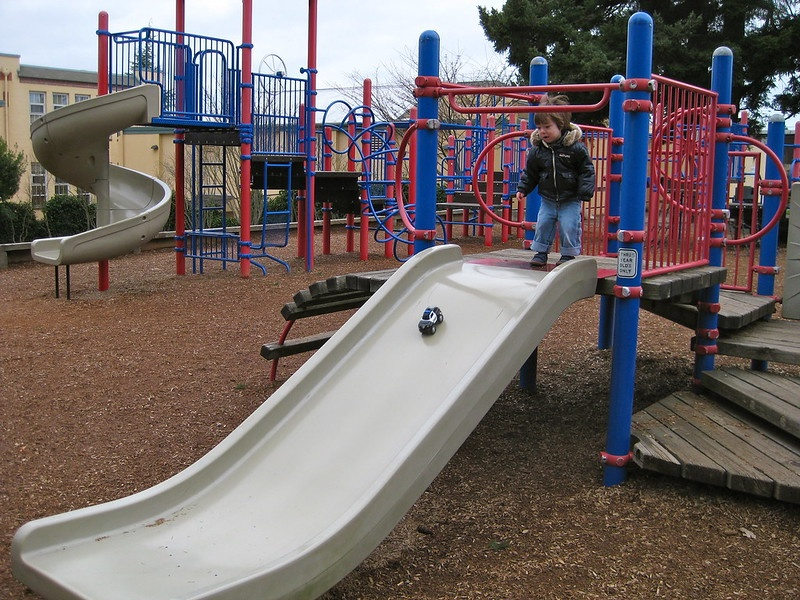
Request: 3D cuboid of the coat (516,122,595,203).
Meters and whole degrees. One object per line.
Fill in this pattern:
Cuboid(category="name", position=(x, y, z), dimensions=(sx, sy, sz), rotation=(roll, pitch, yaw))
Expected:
Cuboid(category="coat", position=(1.148, -0.996, 5.818), dimensions=(0.524, 0.550, 0.308), rotation=(1, 11, 23))

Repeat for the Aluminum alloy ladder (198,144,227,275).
Cuboid(category="Aluminum alloy ladder", position=(-3.095, -1.811, 13.045), dimensions=(0.547, 2.523, 0.110), rotation=(-1, -22, -11))

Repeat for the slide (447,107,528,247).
Cuboid(category="slide", position=(1.823, -2.429, 15.969), dimensions=(1.394, 2.322, 1.423), rotation=(4, 8, 15))

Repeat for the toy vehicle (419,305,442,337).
Cuboid(category="toy vehicle", position=(0.189, 0.133, 4.891), dimensions=(0.098, 0.100, 0.192), rotation=(7, 47, 39))
